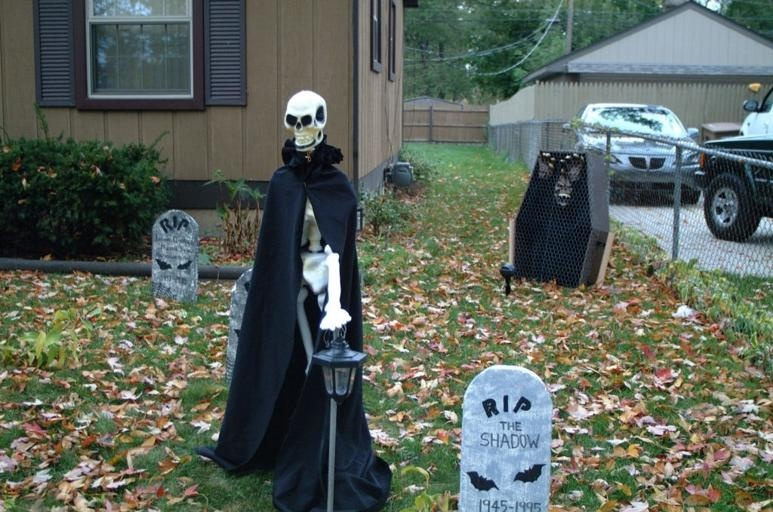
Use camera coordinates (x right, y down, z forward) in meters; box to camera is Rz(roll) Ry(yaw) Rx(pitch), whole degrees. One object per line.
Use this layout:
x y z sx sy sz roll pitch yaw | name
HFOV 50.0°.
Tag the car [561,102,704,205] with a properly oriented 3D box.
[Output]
4.640 -2.035 15.554 1.614 1.415 3.820 2 6 4 | car
